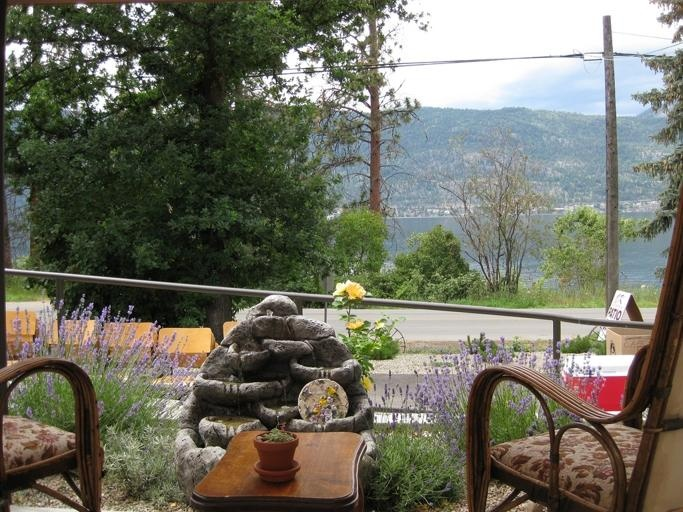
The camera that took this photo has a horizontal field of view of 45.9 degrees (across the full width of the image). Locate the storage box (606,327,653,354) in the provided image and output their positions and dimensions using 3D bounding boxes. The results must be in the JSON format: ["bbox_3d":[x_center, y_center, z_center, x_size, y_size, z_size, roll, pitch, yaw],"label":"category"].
[{"bbox_3d":[3.390,0.994,9.514,0.417,0.318,0.458,-1,-1,10],"label":"storage box"}]

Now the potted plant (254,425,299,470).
[{"bbox_3d":[-0.497,1.465,6.125,0.249,0.218,0.278,0,1,-2],"label":"potted plant"}]
